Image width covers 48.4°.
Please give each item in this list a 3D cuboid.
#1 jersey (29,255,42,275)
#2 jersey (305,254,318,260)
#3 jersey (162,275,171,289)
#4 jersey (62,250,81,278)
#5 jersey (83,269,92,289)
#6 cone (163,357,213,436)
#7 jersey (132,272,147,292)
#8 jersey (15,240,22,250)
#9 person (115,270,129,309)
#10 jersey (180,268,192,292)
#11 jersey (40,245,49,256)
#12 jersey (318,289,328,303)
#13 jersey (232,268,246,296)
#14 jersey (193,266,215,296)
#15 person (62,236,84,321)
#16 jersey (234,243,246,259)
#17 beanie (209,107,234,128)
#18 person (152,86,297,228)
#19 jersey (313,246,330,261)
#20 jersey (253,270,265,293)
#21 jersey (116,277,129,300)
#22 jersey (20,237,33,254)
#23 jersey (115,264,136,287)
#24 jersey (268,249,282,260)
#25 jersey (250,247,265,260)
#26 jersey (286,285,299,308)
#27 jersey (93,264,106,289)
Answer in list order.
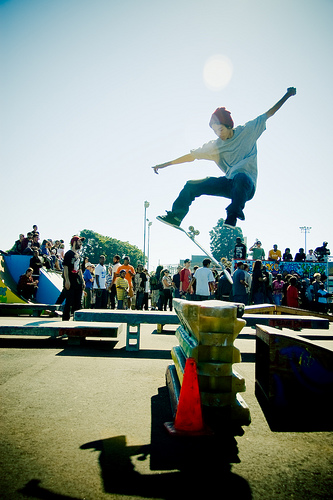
[{"bbox_3d":[-3.738,0.459,11.087,0.200,0.550,0.396,-1,-6,31],"label":"jersey"},{"bbox_3d":[6.301,0.295,16.459,0.356,0.105,0.377,-5,12,-12],"label":"jersey"},{"bbox_3d":[0.035,0.991,11.669,0.270,0.415,0.393,2,-5,-1],"label":"jersey"},{"bbox_3d":[-1.703,0.250,6.952,0.350,0.531,0.251,5,-6,-29],"label":"jersey"},{"bbox_3d":[-2.261,0.842,11.084,0.266,0.581,0.432,3,-5,-9],"label":"jersey"},{"bbox_3d":[0.181,1.000,2.650,0.394,0.558,0.391,4,-5,-9],"label":"cone"},{"bbox_3d":[-0.782,0.964,11.506,0.406,0.598,0.227,6,0,-9],"label":"jersey"},{"bbox_3d":[-4.627,-0.178,12.032,0.243,0.358,0.334,-2,2,-8],"label":"jersey"},{"bbox_3d":[-1.125,1.026,9.840,0.325,1.019,0.325,3,-5,-15],"label":"person"},{"bbox_3d":[0.563,0.845,10.746,0.298,0.701,0.585,2,-5,3],"label":"jersey"},{"bbox_3d":[-3.950,-0.006,12.410,0.240,0.207,0.613,-4,32,-13],"label":"jersey"},{"bbox_3d":[4.480,1.346,10.901,0.262,0.375,0.240,-1,-6,35],"label":"jersey"},{"bbox_3d":[1.722,0.762,8.862,0.314,0.631,0.282,0,-5,19],"label":"jersey"},{"bbox_3d":[0.849,0.712,8.622,0.504,0.675,0.315,0,-5,21],"label":"jersey"},{"bbox_3d":[-1.716,0.514,7.088,0.343,1.621,0.649,3,-5,-10],"label":"person"},{"bbox_3d":[2.796,0.020,14.170,0.465,0.606,0.262,3,-5,-10],"label":"jersey"},{"bbox_3d":[0.678,-1.676,4.587,0.262,0.221,0.216,2,-5,7],"label":"beanie"},{"bbox_3d":[0.731,-1.027,4.364,1.393,1.813,0.916,-13,-36,38],"label":"person"},{"bbox_3d":[6.694,0.182,16.265,0.450,0.360,1.085,16,16,22],"label":"jersey"},{"bbox_3d":[2.381,0.819,9.726,0.280,0.595,0.667,1,-5,13],"label":"jersey"},{"bbox_3d":[-1.115,1.012,9.835,0.319,0.596,0.220,3,-5,-8],"label":"jersey"},{"bbox_3d":[-4.293,-0.152,11.823,0.253,0.513,0.361,-11,-21,27],"label":"jersey"},{"bbox_3d":[-1.067,0.663,9.951,0.633,0.874,0.338,0,-15,-12],"label":"jersey"},{"bbox_3d":[4.354,0.190,15.100,0.419,0.427,0.170,-1,-18,19],"label":"jersey"},{"bbox_3d":[3.536,0.111,14.532,0.422,0.441,0.239,-9,-33,23],"label":"jersey"},{"bbox_3d":[3.194,1.173,9.591,0.263,0.554,0.316,0,-5,18],"label":"jersey"},{"bbox_3d":[-1.853,0.760,10.858,0.306,0.709,0.442,3,-5,-11],"label":"jersey"}]
